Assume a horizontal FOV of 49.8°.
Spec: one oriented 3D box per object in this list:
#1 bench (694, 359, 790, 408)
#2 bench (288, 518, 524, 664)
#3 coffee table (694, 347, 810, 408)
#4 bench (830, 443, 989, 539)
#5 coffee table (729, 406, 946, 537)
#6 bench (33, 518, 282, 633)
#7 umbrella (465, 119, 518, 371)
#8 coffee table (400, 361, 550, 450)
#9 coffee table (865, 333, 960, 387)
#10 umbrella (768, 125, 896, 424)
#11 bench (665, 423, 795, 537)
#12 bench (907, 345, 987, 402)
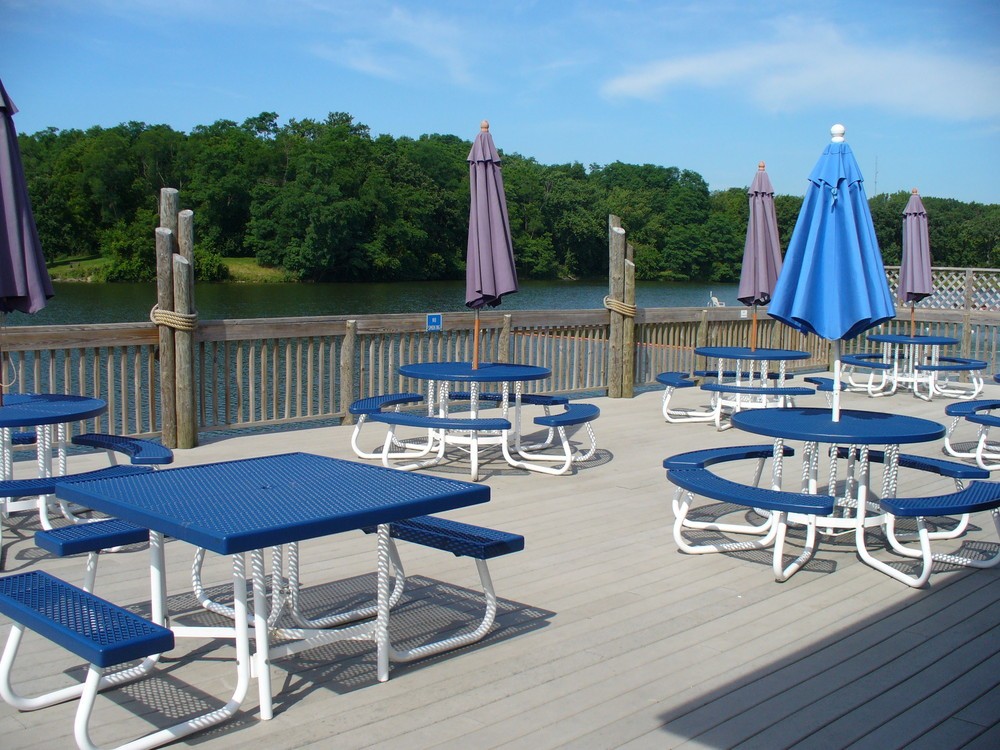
[{"bbox_3d":[3.071,0.094,12.828,1.422,0.521,1.257,0,4,-22],"label":"bench"},{"bbox_3d":[-0.469,1.046,5.867,0.937,0.445,1.213,-7,9,-44],"label":"bench"},{"bbox_3d":[2.953,0.013,12.445,1.323,0.482,1.270,-3,7,-42],"label":"coffee table"},{"bbox_3d":[2.921,0.851,7.738,0.433,0.168,0.854,-10,10,-24],"label":"bench"},{"bbox_3d":[2.222,0.634,7.100,1.461,0.523,1.215,-1,3,2],"label":"coffee table"},{"bbox_3d":[-1.975,0.887,5.739,1.305,0.465,0.744,9,9,29],"label":"bench"},{"bbox_3d":[-0.087,-1.385,9.714,0.421,1.749,0.543,0,8,-2],"label":"umbrella"},{"bbox_3d":[-0.166,0.156,9.516,1.078,0.412,1.037,7,11,37],"label":"coffee table"},{"bbox_3d":[5.959,-0.267,15.283,1.550,0.520,1.269,-3,8,-3],"label":"coffee table"},{"bbox_3d":[2.206,-0.925,7.012,0.758,1.384,0.512,3,8,24],"label":"umbrella"},{"bbox_3d":[1.638,0.678,7.718,0.896,0.169,0.697,4,42,11],"label":"bench"},{"bbox_3d":[6.439,-0.110,15.518,1.192,0.535,1.847,15,6,24],"label":"bench"}]
